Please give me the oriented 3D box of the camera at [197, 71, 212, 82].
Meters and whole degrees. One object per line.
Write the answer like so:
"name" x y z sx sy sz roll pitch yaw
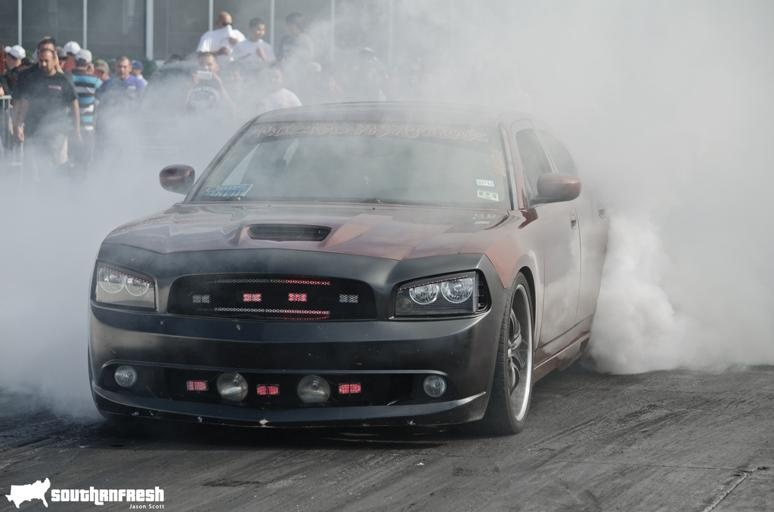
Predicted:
"camera" -2.825 -2.804 10.903 0.234 0.139 0.137 0 3 -12

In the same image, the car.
"car" -0.103 -0.076 4.181 2.972 1.975 1.953 -2 4 -41
